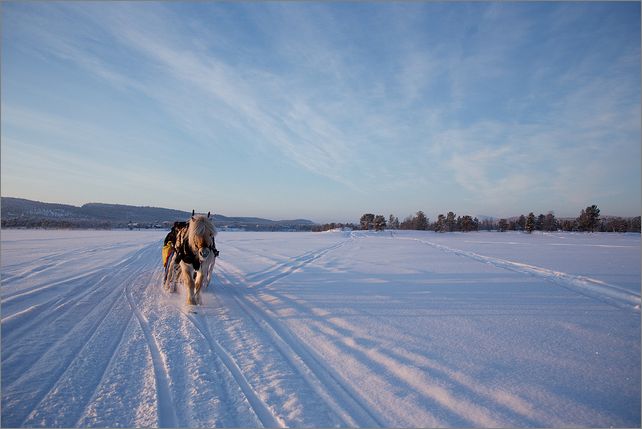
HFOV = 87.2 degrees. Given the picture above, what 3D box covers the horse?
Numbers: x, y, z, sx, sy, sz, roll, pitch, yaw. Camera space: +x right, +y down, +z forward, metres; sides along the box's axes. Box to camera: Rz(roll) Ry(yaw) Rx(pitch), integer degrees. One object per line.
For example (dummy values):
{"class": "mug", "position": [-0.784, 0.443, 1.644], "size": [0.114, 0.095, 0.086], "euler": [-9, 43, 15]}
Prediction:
{"class": "horse", "position": [-3.717, 0.914, 9.748], "size": [1.140, 1.979, 3.594], "euler": [-3, 7, -30]}
